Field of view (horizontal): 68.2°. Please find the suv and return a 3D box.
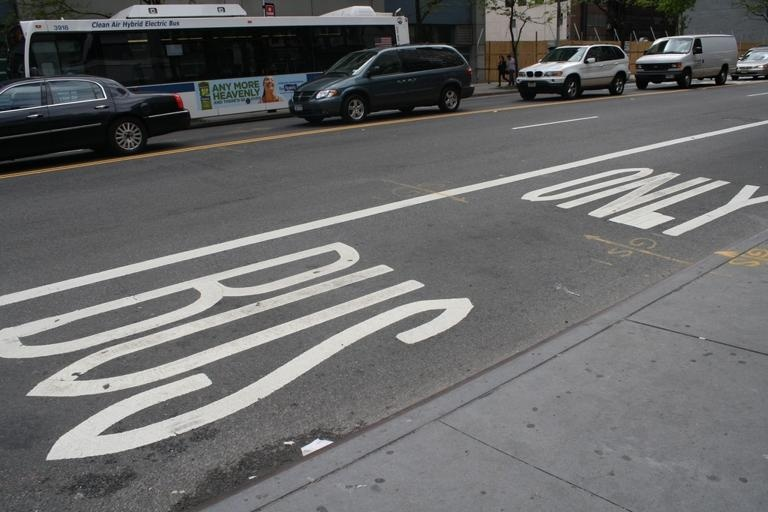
[{"bbox_3d":[8.474,-8.230,25.184,4.943,2.195,1.937,-13,24,-26],"label":"suv"}]
